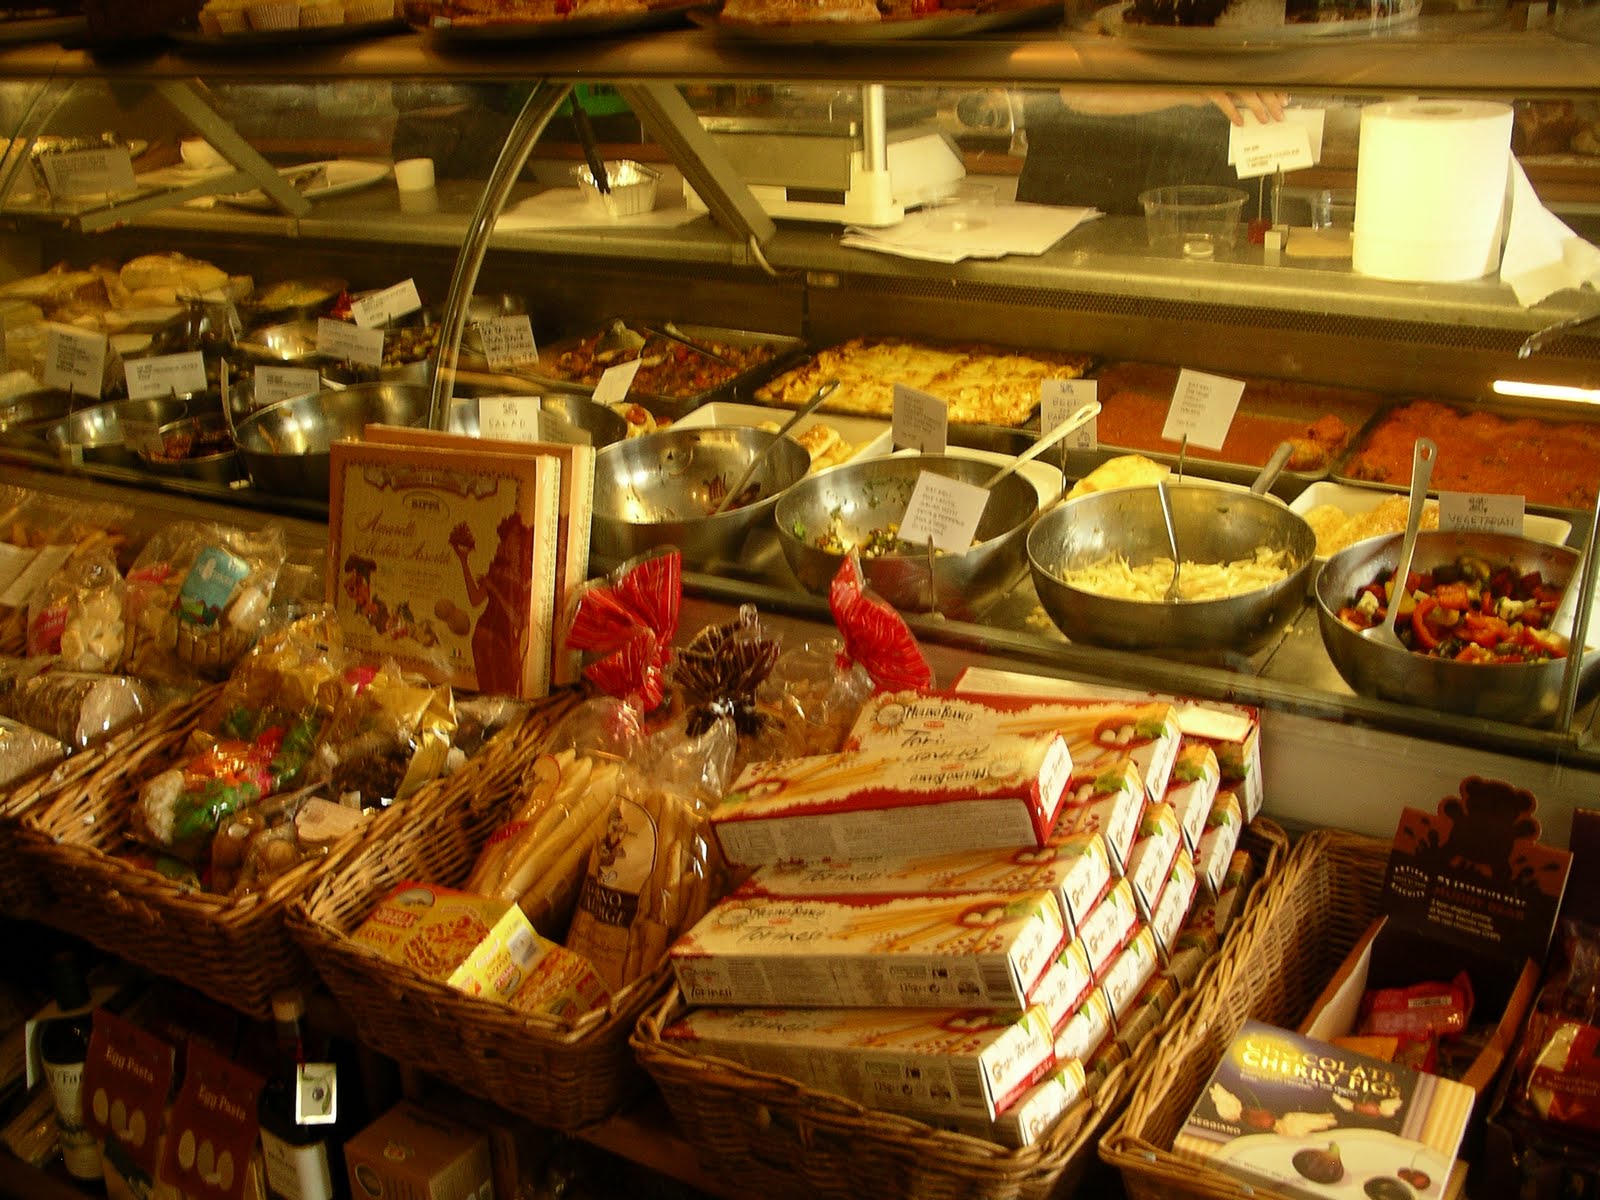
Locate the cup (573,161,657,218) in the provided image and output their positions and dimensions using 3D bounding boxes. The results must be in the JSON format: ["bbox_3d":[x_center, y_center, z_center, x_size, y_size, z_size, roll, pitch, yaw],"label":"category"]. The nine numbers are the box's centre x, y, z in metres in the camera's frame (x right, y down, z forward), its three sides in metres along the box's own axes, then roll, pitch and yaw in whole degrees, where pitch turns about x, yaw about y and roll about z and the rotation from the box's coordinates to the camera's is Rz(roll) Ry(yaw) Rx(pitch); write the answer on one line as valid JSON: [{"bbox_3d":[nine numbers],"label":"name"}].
[{"bbox_3d":[-0.472,-1.075,3.191,0.141,0.081,0.182,-5,33,-11],"label":"cup"}]

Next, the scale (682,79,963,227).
[{"bbox_3d":[0.089,-1.068,2.923,0.455,0.344,0.456,-23,31,-34],"label":"scale"}]

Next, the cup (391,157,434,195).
[{"bbox_3d":[-1.045,-1.138,3.253,0.072,0.052,0.072,3,28,-2],"label":"cup"}]

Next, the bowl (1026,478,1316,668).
[{"bbox_3d":[0.714,-0.077,2.378,0.532,0.201,0.522,3,-3,0],"label":"bowl"}]

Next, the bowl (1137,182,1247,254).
[{"bbox_3d":[0.818,-0.783,2.506,0.162,0.079,0.161,0,19,0],"label":"bowl"}]

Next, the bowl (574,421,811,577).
[{"bbox_3d":[-0.196,-0.241,2.597,0.364,0.144,0.366,-4,37,3],"label":"bowl"}]

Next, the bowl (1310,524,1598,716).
[{"bbox_3d":[0.999,0.017,1.838,0.391,0.204,0.359,0,20,0],"label":"bowl"}]

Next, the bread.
[{"bbox_3d":[-0.189,0.273,1.920,0.396,0.194,0.590,4,36,35],"label":"bread"}]

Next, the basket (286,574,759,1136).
[{"bbox_3d":[-0.406,0.394,1.911,0.425,0.189,0.696,21,43,26],"label":"basket"}]
